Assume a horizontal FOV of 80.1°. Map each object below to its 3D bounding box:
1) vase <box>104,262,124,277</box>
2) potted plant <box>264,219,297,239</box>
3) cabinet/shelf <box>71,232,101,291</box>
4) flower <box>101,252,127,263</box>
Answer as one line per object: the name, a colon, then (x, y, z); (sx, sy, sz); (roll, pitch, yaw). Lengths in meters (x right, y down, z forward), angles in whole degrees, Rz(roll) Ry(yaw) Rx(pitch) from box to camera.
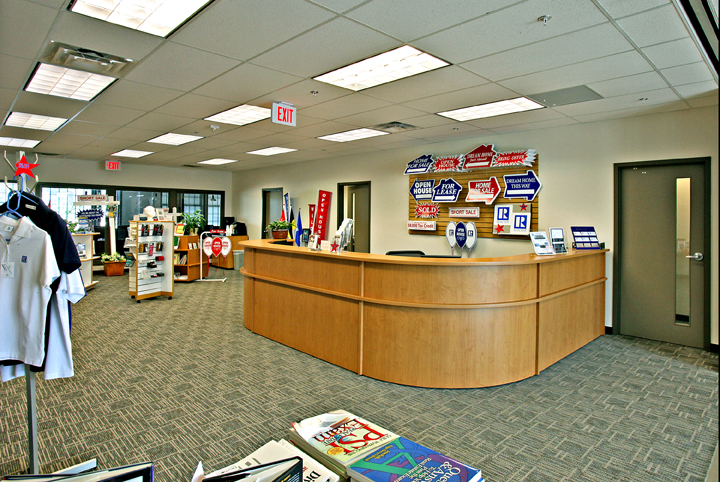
vase: (-6.472, 0.712, 11.285); (0.597, 0.386, 0.362); (1, -1, -36)
potted plant: (-1.754, -0.299, 9.511); (0.613, 0.336, 0.616); (-1, -4, 43)
cabinet/shelf: (-6.191, 0.467, 9.725); (0.362, 1.368, 1.836); (-6, 15, -26)
flower: (-6.543, 0.424, 11.391); (0.496, 0.234, 0.431); (-9, 17, -36)
